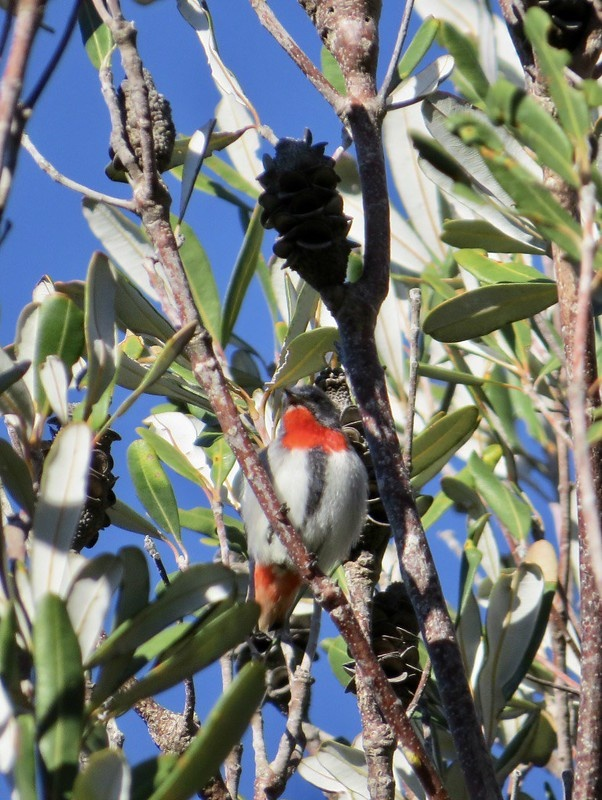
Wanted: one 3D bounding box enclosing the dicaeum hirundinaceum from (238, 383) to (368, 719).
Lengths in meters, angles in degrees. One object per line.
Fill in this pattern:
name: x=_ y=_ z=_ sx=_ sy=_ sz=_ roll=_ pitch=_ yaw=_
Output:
dicaeum hirundinaceum: x=-0.005 y=0.280 z=3.534 sx=0.182 sy=0.231 sz=0.591 roll=8 pitch=-91 yaw=-6
